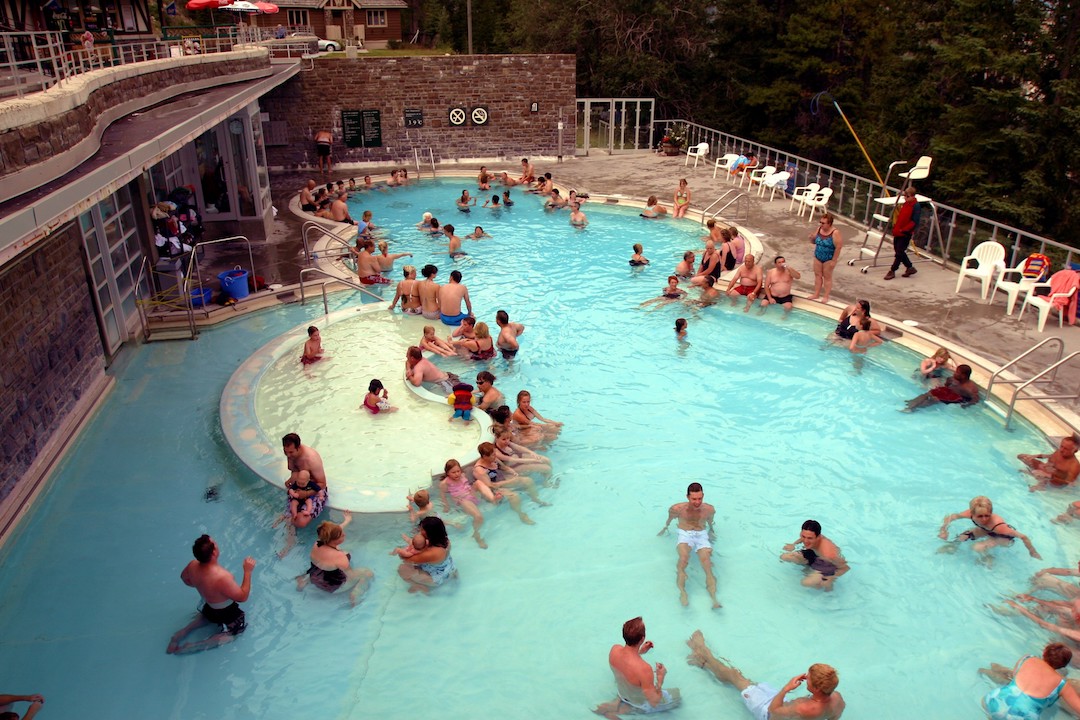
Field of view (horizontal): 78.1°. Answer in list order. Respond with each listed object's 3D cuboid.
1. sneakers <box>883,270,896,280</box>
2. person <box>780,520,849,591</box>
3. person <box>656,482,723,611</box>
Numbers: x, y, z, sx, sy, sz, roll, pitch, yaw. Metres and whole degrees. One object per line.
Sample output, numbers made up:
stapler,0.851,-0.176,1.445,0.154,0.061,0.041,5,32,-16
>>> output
sneakers,8.818,-2.161,16.896,0.296,0.113,0.155,-20,38,-4
person,4.073,2.911,9.958,0.499,0.909,0.525,-30,42,-2
person,2.206,2.737,10.062,0.978,0.732,2.134,1,33,12
